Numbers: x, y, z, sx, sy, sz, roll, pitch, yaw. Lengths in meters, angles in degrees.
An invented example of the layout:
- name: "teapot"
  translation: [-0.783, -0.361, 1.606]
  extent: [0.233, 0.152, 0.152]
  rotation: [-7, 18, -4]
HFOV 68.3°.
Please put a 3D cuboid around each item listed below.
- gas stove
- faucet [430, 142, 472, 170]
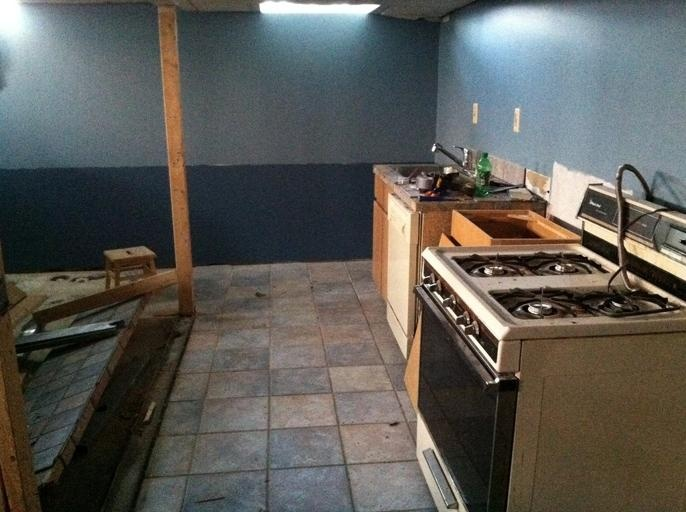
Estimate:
- name: "gas stove"
  translation: [0.855, 0.098, 2.040]
  extent: [0.623, 0.058, 0.686]
  rotation: [-4, 22, -7]
- name: "faucet"
  translation: [0.954, -0.885, 4.364]
  extent: [0.299, 0.289, 0.844]
  rotation: [4, 23, 13]
